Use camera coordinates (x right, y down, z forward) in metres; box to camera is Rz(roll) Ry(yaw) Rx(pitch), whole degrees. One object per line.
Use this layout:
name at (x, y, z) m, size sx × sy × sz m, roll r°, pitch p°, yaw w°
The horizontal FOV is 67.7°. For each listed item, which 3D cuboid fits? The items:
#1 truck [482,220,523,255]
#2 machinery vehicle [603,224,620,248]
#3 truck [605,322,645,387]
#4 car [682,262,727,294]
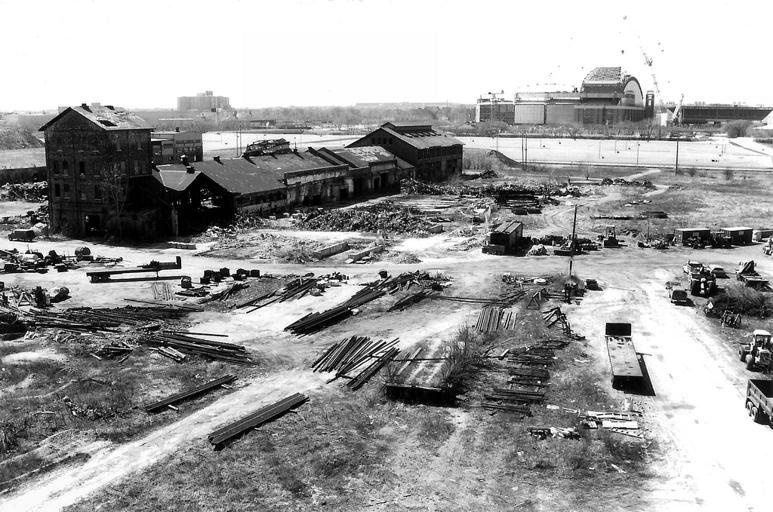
truck at (8.158, -1.079, 39.775) m, size 1.129 × 0.966 × 3.207 m, roll -7°, pitch -18°, yaw -23°
machinery vehicle at (16.417, -1.485, 42.152) m, size 0.853 × 1.359 × 2.744 m, roll -1°, pitch 9°, yaw 13°
truck at (9.690, 4.111, 23.618) m, size 1.159 × 1.631 × 3.532 m, roll 1°, pitch 24°, yaw 10°
car at (17.811, 1.295, 32.436) m, size 1.431 × 1.133 × 3.000 m, roll -1°, pitch 11°, yaw 9°
